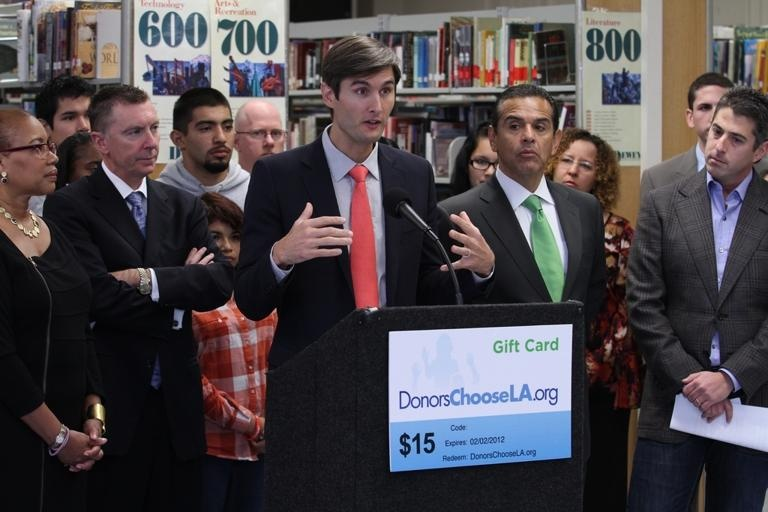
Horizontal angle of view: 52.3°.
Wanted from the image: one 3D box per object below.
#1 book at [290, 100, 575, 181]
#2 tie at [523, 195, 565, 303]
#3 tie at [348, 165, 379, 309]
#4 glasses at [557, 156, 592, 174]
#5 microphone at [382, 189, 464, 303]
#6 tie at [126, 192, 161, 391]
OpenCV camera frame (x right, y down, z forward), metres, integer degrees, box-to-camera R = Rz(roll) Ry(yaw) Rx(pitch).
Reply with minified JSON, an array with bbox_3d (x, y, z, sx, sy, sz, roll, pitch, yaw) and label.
[{"bbox_3d":[0.354,-0.626,4.229,0.373,0.267,0.945,2,-1,-38],"label":"book"},{"bbox_3d":[0.659,-0.059,3.286,0.099,0.506,0.028,-12,-17,-7],"label":"tie"},{"bbox_3d":[-0.076,-0.078,2.755,0.095,0.472,0.202,-1,8,-3],"label":"tie"},{"bbox_3d":[1.060,-0.507,4.342,0.098,0.037,0.120,2,-35,10],"label":"glasses"},{"bbox_3d":[0.177,-0.048,2.594,0.236,0.348,0.322,-8,11,-39],"label":"microphone"},{"bbox_3d":[-1.002,-0.027,3.311,0.104,1.167,0.157,-2,0,-15],"label":"tie"}]
